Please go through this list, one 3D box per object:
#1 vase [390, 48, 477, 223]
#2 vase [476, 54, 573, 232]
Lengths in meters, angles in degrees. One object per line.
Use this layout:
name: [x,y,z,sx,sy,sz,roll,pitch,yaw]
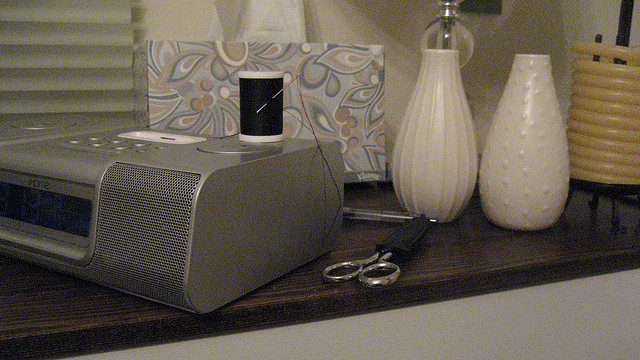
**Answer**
vase: [0.236,-0.088,0.897,0.133,0.350,0.124,-11,21,-31]
vase: [0.403,-0.070,0.860,0.148,0.342,0.115,15,23,39]
